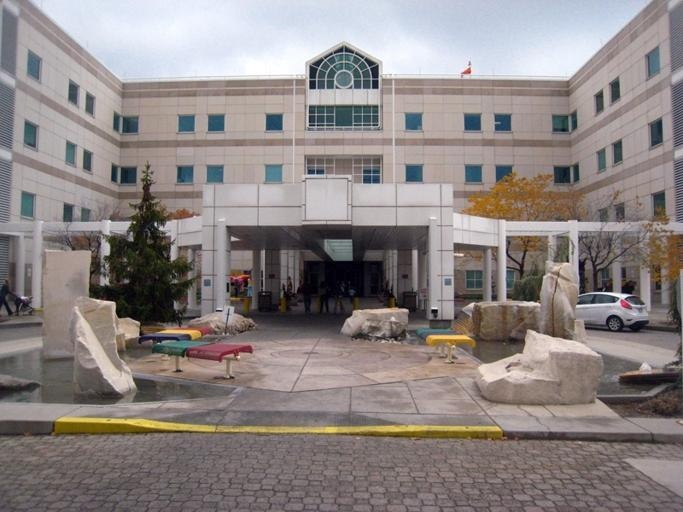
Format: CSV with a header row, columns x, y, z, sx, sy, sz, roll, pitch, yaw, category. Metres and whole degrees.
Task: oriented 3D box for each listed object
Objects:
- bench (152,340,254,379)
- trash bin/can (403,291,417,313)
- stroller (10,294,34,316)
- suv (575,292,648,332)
x,y,z,sx,sy,sz,roll,pitch,yaw,category
-3.464,2.506,13.720,1.800,0.869,2.445,-3,7,-41,bench
3.994,2.600,32.655,1.115,1.501,1.038,0,-7,-5,trash bin/can
-16.993,2.639,29.848,0.771,1.105,2.159,-1,6,-29,stroller
11.190,2.226,23.260,1.753,1.237,2.964,1,2,-28,suv
